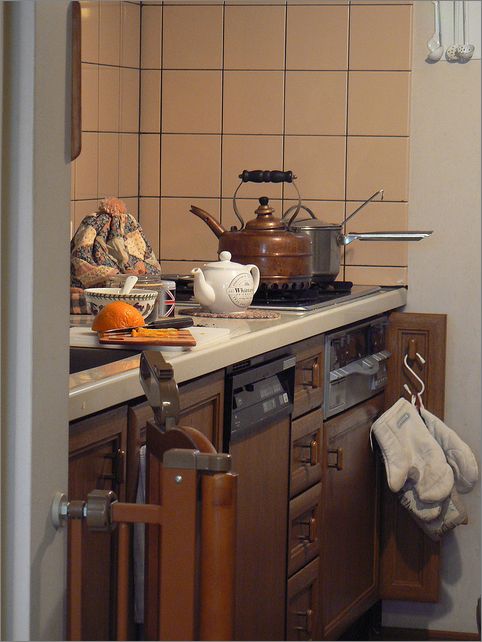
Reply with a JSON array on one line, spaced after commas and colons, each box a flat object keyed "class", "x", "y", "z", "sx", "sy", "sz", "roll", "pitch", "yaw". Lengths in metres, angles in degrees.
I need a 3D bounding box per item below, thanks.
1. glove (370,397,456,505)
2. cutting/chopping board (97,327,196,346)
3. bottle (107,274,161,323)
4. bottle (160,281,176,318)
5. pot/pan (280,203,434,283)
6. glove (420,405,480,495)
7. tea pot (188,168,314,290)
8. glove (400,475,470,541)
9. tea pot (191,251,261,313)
[{"class": "glove", "x": 0.477, "y": 0.363, "z": 1.815, "sx": 0.186, "sy": 0.308, "sz": 0.086, "roll": -29, "pitch": -7, "yaw": -13}, {"class": "cutting/chopping board", "x": -0.161, "y": 0.024, "z": 1.037, "sx": 0.152, "sy": 0.020, "sz": 0.188, "roll": -2, "pitch": 7, "yaw": -14}, {"class": "bottle", "x": -0.226, "y": -0.054, "z": 1.278, "sx": 0.085, "sy": 0.093, "sz": 0.095, "roll": 2, "pitch": 5, "yaw": -2}, {"class": "bottle", "x": -0.158, "y": -0.049, "z": 1.348, "sx": 0.025, "sy": 0.078, "sz": 0.095, "roll": 0, "pitch": 6, "yaw": 4}, {"class": "pot/pan", "x": 0.300, "y": -0.218, "z": 1.947, "sx": 0.512, "sy": 0.353, "sz": 0.237, "roll": 0, "pitch": 2, "yaw": 2}, {"class": "glove", "x": 0.616, "y": 0.371, "z": 1.855, "sx": 0.051, "sy": 0.219, "sz": 0.159, "roll": -27, "pitch": -10, "yaw": -6}, {"class": "tea pot", "x": 0.032, "y": -0.227, "z": 1.594, "sx": 0.308, "sy": 0.335, "sz": 0.207, "roll": 1, "pitch": 4, "yaw": 10}, {"class": "glove", "x": 0.582, "y": 0.551, "z": 1.910, "sx": 0.183, "sy": 0.197, "sz": 0.061, "roll": -38, "pitch": 14, "yaw": -25}, {"class": "tea pot", "x": -0.029, "y": -0.087, "z": 1.389, "sx": 0.094, "sy": 0.128, "sz": 0.158, "roll": 1, "pitch": 0, "yaw": 31}]
